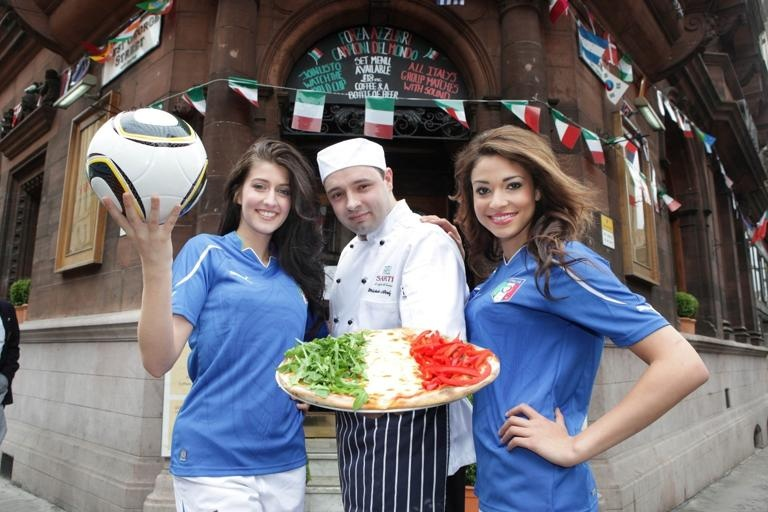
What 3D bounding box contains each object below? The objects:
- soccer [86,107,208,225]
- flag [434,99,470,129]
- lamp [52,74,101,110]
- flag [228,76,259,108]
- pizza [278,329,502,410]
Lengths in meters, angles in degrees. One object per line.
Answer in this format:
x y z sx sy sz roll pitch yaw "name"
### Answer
-1.701 -0.698 4.030 0.756 0.839 0.829 22 27 1 "soccer"
1.021 -2.153 8.062 0.518 0.047 0.523 40 -16 9 "flag"
-5.405 -2.898 9.271 0.841 0.457 0.205 -4 -11 30 "lamp"
-2.070 -2.377 7.692 0.422 0.456 0.057 9 -24 -19 "flag"
0.004 0.810 3.779 1.549 0.587 0.456 2 -10 -1 "pizza"
